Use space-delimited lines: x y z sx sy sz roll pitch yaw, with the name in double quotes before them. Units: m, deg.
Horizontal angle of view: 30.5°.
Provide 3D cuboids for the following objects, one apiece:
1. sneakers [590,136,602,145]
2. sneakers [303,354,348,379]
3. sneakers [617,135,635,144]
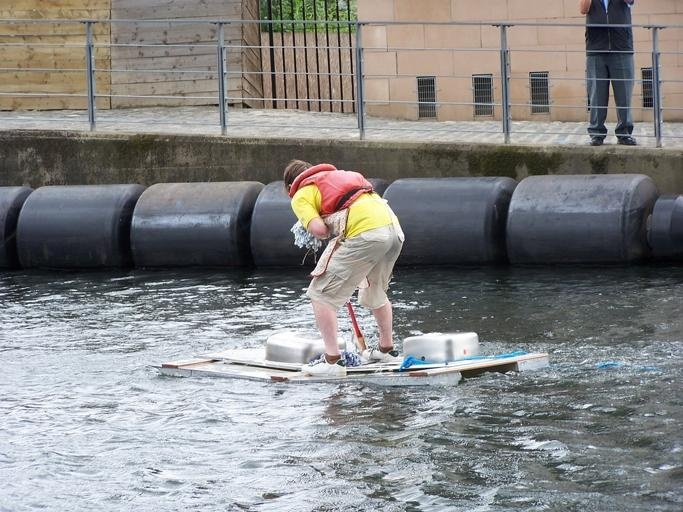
"sneakers" 2.745 -1.154 13.437 0.080 0.069 0.201 2 8 15
"sneakers" -0.118 0.782 9.202 0.385 0.147 0.123 2 -18 2
"sneakers" 3.044 -1.162 13.331 0.079 0.065 0.191 -3 12 -25
